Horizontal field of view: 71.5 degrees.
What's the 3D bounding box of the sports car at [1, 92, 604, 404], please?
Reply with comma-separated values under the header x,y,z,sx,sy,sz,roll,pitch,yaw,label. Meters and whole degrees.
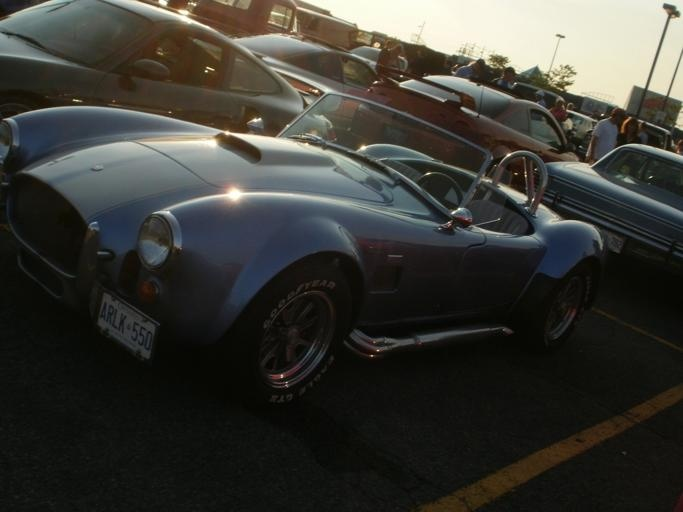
x,y,z,sx,sy,sz,roll,pitch,yaw,label
0.141,-0.104,3.625,3.867,1.406,2.145,7,17,-44,sports car
